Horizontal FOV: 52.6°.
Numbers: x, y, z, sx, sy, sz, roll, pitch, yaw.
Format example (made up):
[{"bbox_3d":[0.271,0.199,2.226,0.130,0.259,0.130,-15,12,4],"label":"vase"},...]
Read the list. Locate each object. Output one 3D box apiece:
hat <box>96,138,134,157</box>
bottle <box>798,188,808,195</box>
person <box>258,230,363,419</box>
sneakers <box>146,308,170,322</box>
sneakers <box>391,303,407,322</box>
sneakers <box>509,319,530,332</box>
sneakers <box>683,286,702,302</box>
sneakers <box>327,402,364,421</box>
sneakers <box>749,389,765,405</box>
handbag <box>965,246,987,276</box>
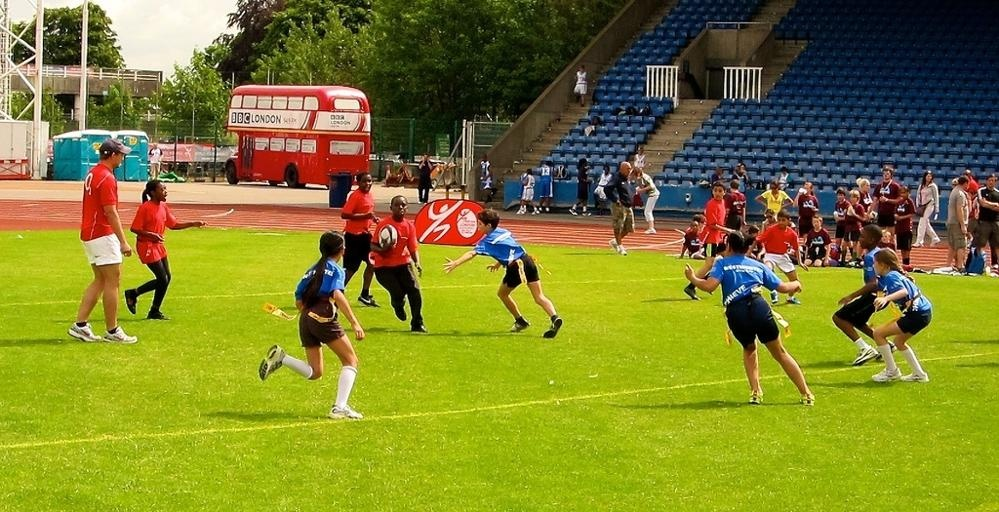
[{"bbox_3d":[-7.863,-2.229,20.822,0.688,0.249,0.439,-2,11,-41],"label":"hat"},{"bbox_3d":[10.173,-2.201,33.864,0.475,0.161,0.610,1,2,12],"label":"bottle"},{"bbox_3d":[-3.302,1.236,18.806,1.755,3.406,0.681,3,4,-7],"label":"person"},{"bbox_3d":[-7.610,1.266,22.583,0.626,0.220,0.205,3,12,-15],"label":"sneakers"},{"bbox_3d":[-2.245,1.249,22.957,0.306,0.458,0.211,-22,13,6],"label":"sneakers"},{"bbox_3d":[0.361,1.543,22.945,0.575,0.247,0.188,-8,16,36],"label":"sneakers"},{"bbox_3d":[5.098,0.973,26.442,0.562,0.237,0.182,34,17,-39],"label":"sneakers"},{"bbox_3d":[-2.853,2.865,18.751,0.653,0.241,0.257,4,4,-15],"label":"sneakers"},{"bbox_3d":[5.078,2.726,19.849,0.366,0.271,0.176,2,5,-25],"label":"sneakers"},{"bbox_3d":[14.617,0.120,30.958,0.726,0.862,0.363,1,5,-29],"label":"handbag"}]
